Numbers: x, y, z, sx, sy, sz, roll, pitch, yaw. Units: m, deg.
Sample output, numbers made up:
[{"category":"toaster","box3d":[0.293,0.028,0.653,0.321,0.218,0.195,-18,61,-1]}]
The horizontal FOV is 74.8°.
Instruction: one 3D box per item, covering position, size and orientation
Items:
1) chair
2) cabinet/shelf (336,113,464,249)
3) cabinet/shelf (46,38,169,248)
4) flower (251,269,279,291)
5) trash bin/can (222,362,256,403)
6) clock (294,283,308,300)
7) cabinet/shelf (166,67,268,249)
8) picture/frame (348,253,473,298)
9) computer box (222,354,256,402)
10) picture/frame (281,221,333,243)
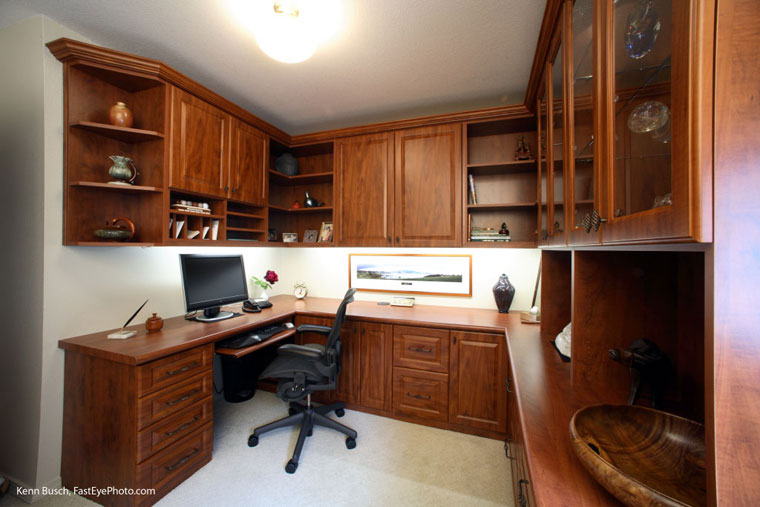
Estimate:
[{"category":"chair","box3d":[-0.576,1.014,4.477,1.177,1.404,1.150,2,1,0]},{"category":"cabinet/shelf","box3d":[0.231,-0.661,4.529,1.226,1.030,0.477,0,-1,19]},{"category":"cabinet/shelf","box3d":[-1.986,-0.733,3.722,0.459,1.393,0.713,1,-1,43]},{"category":"flower","box3d":[-1.124,0.263,4.903,0.216,0.190,0.208,15,-18,44]},{"category":"trash bin/can","box3d":[-1.310,1.188,4.572,0.324,0.425,0.247,1,5,-2]},{"category":"clock","box3d":[-0.810,0.392,5.100,0.153,0.207,0.088,1,-3,-6]},{"category":"cabinet/shelf","box3d":[-1.381,-0.833,4.141,0.479,1.587,1.424,-1,0,13]},{"category":"picture/frame","box3d":[0.347,0.203,4.797,1.066,0.411,0.163,0,1,11]},{"category":"computer box","box3d":[-1.332,1.128,4.683,0.260,0.474,0.333,4,5,14]},{"category":"picture/frame","box3d":[-0.742,-0.215,5.043,0.651,0.213,0.469,0,1,6]}]
